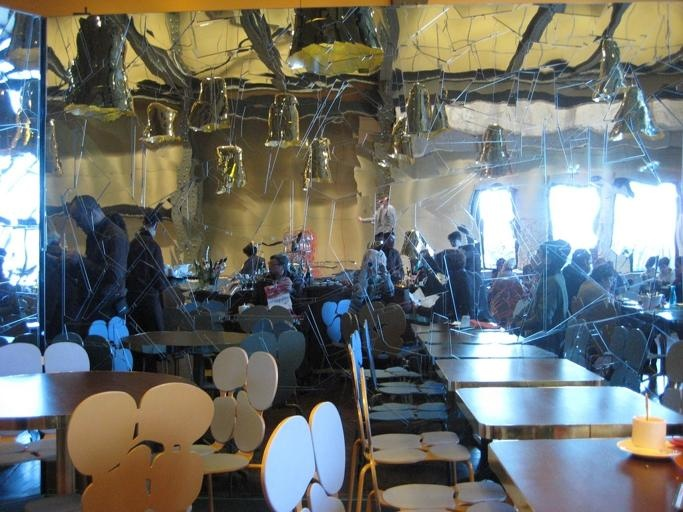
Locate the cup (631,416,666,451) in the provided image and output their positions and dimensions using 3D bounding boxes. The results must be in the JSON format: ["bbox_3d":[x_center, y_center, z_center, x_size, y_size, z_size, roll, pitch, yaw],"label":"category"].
[{"bbox_3d":[1.313,0.760,2.679,0.128,0.136,0.135,1,-10,0],"label":"cup"}]

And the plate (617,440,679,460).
[{"bbox_3d":[1.323,0.842,2.702,0.238,0.055,0.134,-2,-2,29],"label":"plate"}]
